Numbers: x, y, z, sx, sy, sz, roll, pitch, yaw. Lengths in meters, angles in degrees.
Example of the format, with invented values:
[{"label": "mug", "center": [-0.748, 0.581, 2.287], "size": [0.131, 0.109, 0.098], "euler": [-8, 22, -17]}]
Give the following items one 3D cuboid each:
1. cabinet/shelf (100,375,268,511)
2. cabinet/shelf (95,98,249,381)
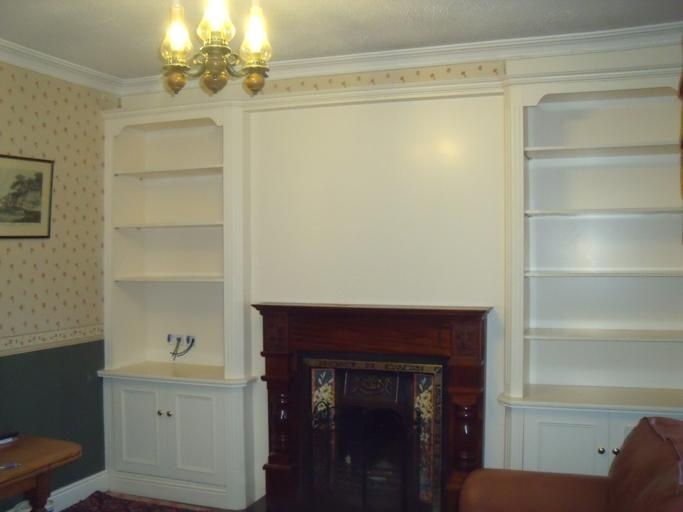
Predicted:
[{"label": "cabinet/shelf", "center": [-1.132, 1.455, 4.440], "size": [0.922, 0.746, 0.349], "euler": [-1, -4, 16]}, {"label": "cabinet/shelf", "center": [-1.274, -0.102, 4.615], "size": [1.195, 2.092, 0.536], "euler": [-1, -5, 21]}]
